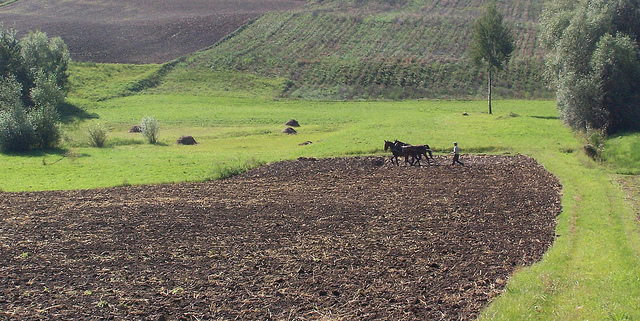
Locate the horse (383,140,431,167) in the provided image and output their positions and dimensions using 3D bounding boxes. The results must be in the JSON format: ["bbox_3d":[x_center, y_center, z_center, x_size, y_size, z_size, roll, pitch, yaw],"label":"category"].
[{"bbox_3d":[20.338,-2.054,176.828,9.857,5.597,3.781,-2,13,8],"label":"horse"}]
